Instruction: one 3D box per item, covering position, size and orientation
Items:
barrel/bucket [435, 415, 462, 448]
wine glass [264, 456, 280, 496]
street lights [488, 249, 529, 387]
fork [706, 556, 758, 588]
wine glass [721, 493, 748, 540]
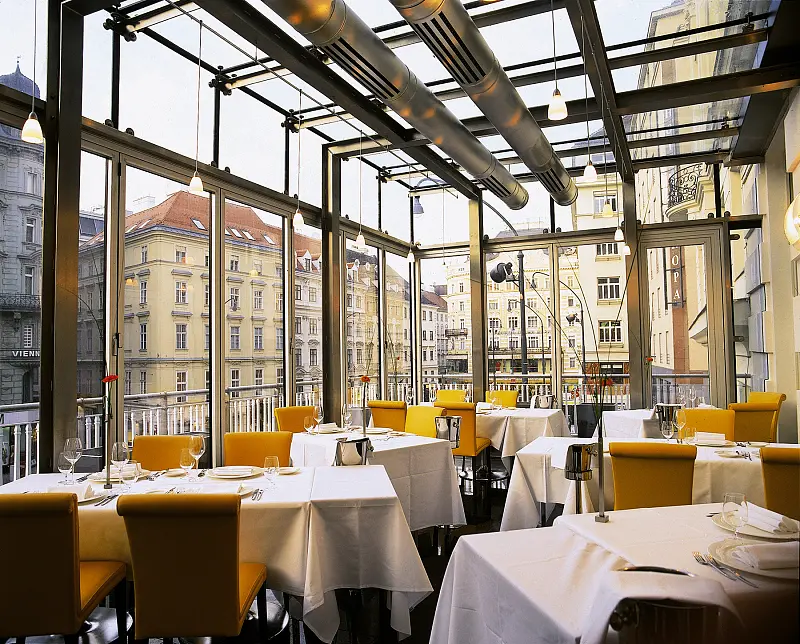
[{"bbox_3d":[0.407,0.865,6.214,0.182,0.259,0.212,4,-5,-38],"label":"barrel/bucket"},{"bbox_3d":[-0.797,0.951,4.857,0.114,0.309,0.115,1,-4,4],"label":"wine glass"},{"bbox_3d":[1.409,-0.089,9.969,0.462,1.666,0.193,1,-7,-26],"label":"street lights"},{"bbox_3d":[1.512,1.134,3.617,0.051,0.041,0.381,-18,15,-8],"label":"fork"},{"bbox_3d":[1.643,0.937,3.860,0.106,0.199,0.160,-5,-7,22],"label":"wine glass"}]
